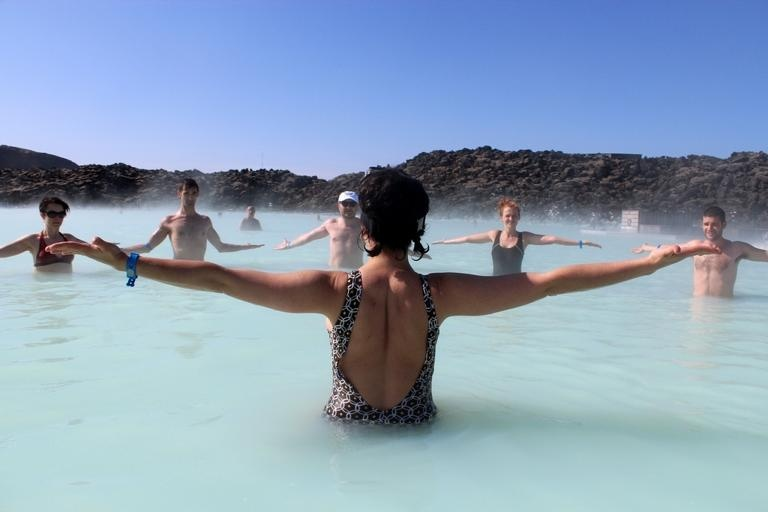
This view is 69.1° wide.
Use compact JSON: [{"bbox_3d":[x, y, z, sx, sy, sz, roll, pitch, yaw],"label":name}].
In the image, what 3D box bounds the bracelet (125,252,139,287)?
[{"bbox_3d":[-1.593,0.078,3.573,0.082,0.224,0.286,-4,11,-24],"label":"bracelet"}]
